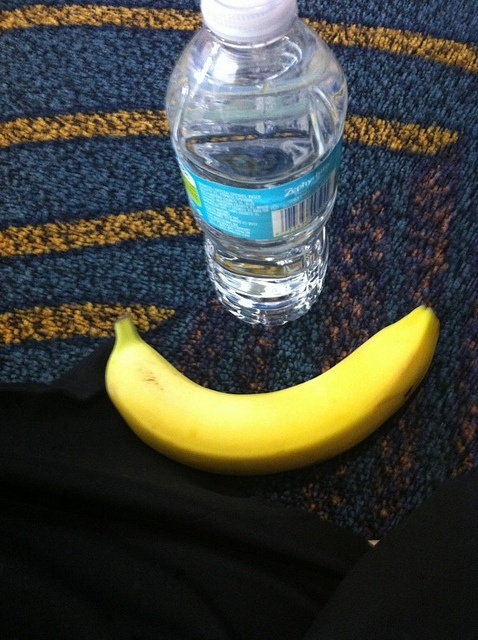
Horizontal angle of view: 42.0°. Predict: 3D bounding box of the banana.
[{"bbox_3d":[0.030,0.080,0.756,0.412,0.145,0.179,3,37,6],"label":"banana"}]
